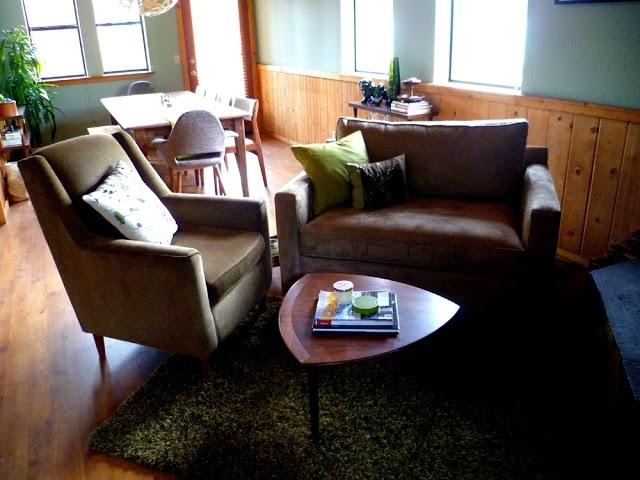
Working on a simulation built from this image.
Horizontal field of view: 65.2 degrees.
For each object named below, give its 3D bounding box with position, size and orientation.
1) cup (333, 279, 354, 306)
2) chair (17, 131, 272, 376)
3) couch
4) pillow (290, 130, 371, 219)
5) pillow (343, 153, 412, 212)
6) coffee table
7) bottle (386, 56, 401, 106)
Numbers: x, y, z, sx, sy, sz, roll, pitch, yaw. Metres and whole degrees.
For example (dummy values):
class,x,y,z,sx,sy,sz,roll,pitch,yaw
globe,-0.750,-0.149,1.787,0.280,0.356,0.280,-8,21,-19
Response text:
class,x,y,z,sx,sy,sz,roll,pitch,yaw
cup,0.114,0.249,2.429,0.094,0.100,0.096,-7,25,3
chair,-0.895,0.015,2.877,1.008,1.155,0.829,7,25,19
couch,0.638,-0.232,3.270,1.598,0.994,0.913,5,21,21
pillow,0.135,-0.485,3.378,0.578,0.488,0.292,-20,9,-25
pillow,0.392,-0.377,3.267,0.409,0.317,0.149,-12,11,-16
coffee table,0.223,0.353,2.406,0.831,0.133,0.632,-4,25,-4
bottle,0.677,-1.453,4.588,0.106,0.404,0.146,-1,24,2
